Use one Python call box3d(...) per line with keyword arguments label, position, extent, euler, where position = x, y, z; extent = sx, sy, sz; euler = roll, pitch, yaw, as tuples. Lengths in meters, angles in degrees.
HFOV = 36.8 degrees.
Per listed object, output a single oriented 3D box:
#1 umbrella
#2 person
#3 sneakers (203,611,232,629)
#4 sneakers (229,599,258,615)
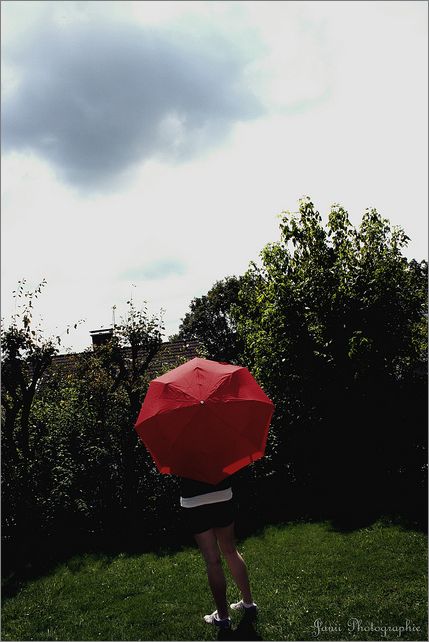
box3d(label="umbrella", position=(-0.120, 1.074, 7.046), extent=(1.378, 0.476, 1.425), euler=(-27, 42, -19))
box3d(label="person", position=(0.065, 2.535, 7.061), extent=(0.534, 1.440, 0.724), euler=(-4, 2, 24))
box3d(label="sneakers", position=(0.016, 3.354, 7.261), extent=(0.134, 0.178, 0.394), euler=(-2, -8, -37))
box3d(label="sneakers", position=(0.335, 3.252, 7.388), extent=(0.322, 0.150, 0.123), euler=(-1, -2, 21))
